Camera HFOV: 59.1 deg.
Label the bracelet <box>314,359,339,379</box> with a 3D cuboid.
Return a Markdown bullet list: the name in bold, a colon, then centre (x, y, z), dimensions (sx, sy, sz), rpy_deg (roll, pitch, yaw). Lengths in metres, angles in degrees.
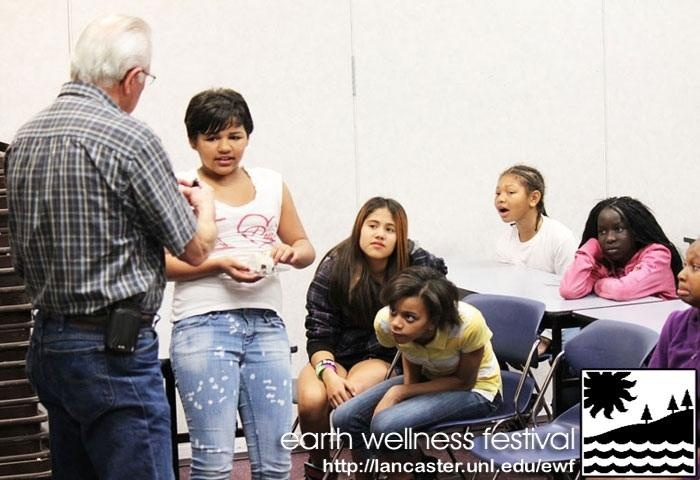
- **bracelet**: centre (-0.121, 0.624, 3.123), dimensions (0.107, 0.067, 0.109), rpy_deg (26, -71, -30)

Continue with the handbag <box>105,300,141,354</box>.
- **handbag**: centre (-0.733, 0.278, 1.987), dimensions (0.117, 0.186, 0.093), rpy_deg (16, -11, -24)

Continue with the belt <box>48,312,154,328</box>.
- **belt**: centre (-0.818, 0.261, 2.027), dimensions (0.336, 0.057, 0.121), rpy_deg (1, -13, -23)

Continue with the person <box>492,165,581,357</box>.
- **person**: centre (1.264, 0.092, 4.346), dimensions (0.636, 1.177, 0.615), rpy_deg (2, 8, 31)
